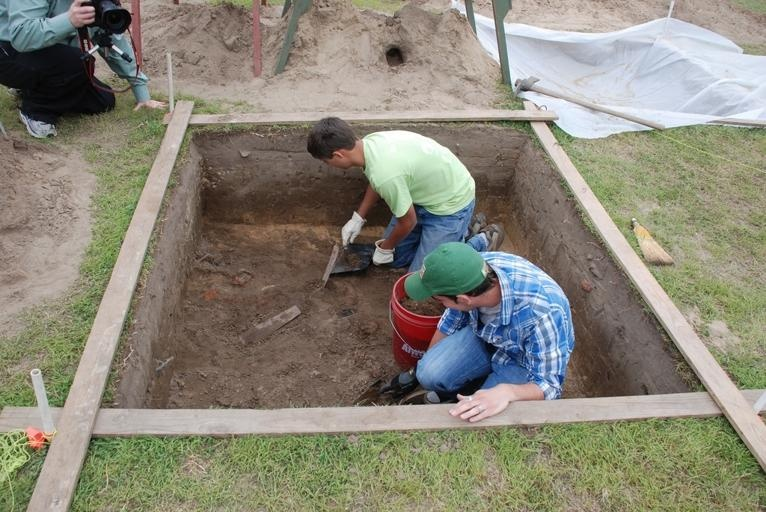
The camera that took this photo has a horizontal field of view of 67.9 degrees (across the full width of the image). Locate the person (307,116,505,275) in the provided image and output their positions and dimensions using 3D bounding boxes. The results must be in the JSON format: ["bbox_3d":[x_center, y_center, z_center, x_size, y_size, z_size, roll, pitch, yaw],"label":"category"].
[{"bbox_3d":[0.244,-0.481,4.830,1.555,1.519,0.875,-1,39,8],"label":"person"}]

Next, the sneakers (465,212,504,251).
[{"bbox_3d":[0.911,-0.175,4.997,0.260,0.108,0.350,28,78,29],"label":"sneakers"}]

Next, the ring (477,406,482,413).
[{"bbox_3d":[0.586,0.932,3.465,0.026,0.008,0.034,8,50,7],"label":"ring"}]

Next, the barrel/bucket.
[{"bbox_3d":[0.283,0.571,4.374,0.440,0.635,0.446,4,39,-3],"label":"barrel/bucket"}]

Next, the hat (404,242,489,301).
[{"bbox_3d":[0.364,0.057,3.504,0.551,0.259,0.363,-16,40,6],"label":"hat"}]

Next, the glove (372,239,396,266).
[{"bbox_3d":[-0.014,0.001,4.925,0.247,0.235,0.147,-10,59,-12],"label":"glove"}]

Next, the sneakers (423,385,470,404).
[{"bbox_3d":[0.419,0.942,3.872,0.332,0.137,0.099,-5,90,-5],"label":"sneakers"}]

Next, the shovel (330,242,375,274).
[{"bbox_3d":[-0.257,0.023,5.060,0.402,0.697,0.197,21,97,12],"label":"shovel"}]

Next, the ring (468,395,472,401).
[{"bbox_3d":[0.537,0.881,3.514,0.020,0.005,0.021,-10,32,7],"label":"ring"}]

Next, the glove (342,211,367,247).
[{"bbox_3d":[-0.272,-0.234,5.037,0.184,0.318,0.146,43,22,19],"label":"glove"}]
